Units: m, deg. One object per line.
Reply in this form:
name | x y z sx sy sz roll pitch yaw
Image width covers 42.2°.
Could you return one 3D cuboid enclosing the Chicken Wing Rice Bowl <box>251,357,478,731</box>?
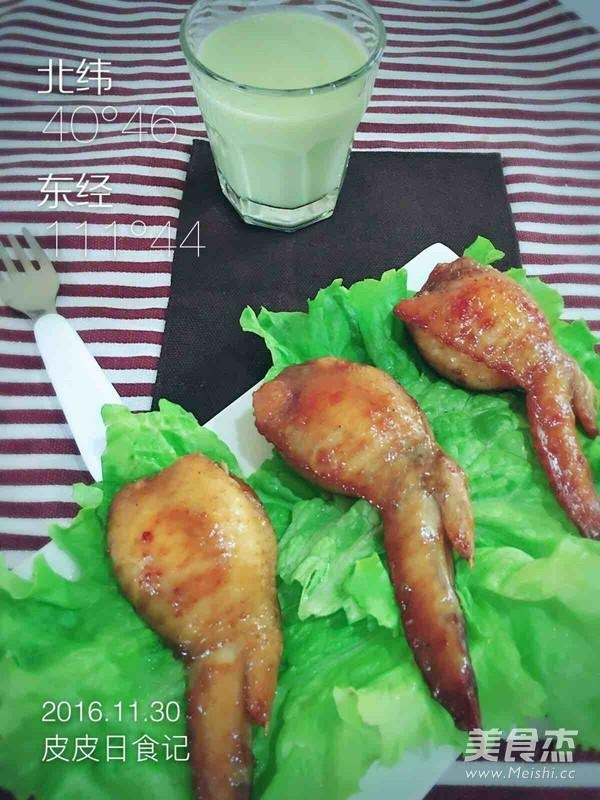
Chicken Wing Rice Bowl | 0.108 0.183 1.054 0.237 0.139 0.453 -20 61 -10
